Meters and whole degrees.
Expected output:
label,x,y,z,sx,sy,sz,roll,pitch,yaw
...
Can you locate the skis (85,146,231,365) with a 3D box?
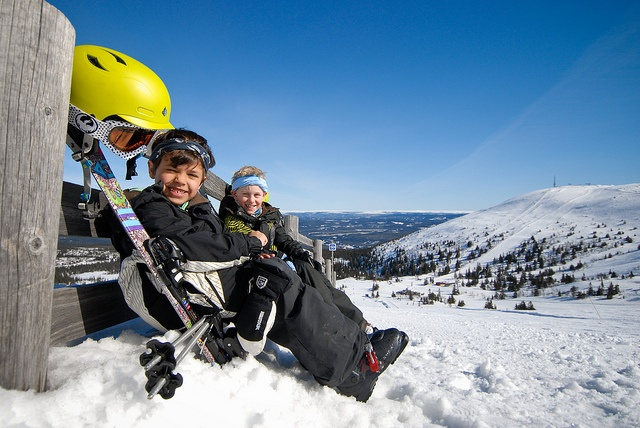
label,x,y,z,sx,sy,sz,roll,pitch,yaw
skis,-1.290,0.373,2.699,0.302,1.930,0.278,-30,9,12
